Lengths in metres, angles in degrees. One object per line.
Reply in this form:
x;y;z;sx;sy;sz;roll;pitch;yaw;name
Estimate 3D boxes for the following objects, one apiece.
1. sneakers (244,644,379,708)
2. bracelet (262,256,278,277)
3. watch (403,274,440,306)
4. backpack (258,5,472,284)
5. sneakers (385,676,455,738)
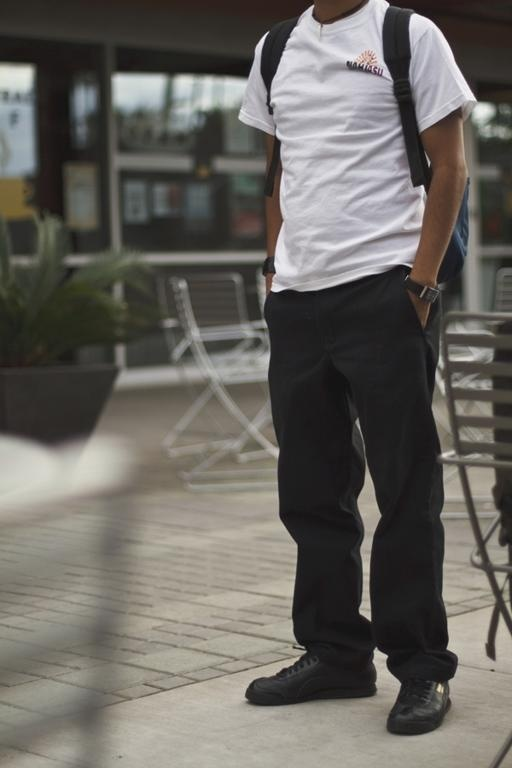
0.138;0.682;1.875;0.318;0.114;0.106;2;0;-9;sneakers
0.033;-0.280;1.879;0.041;0.047;0.028;6;-2;-36;bracelet
0.323;-0.183;1.599;0.077;0.042;0.072;24;9;-13;watch
0.209;-0.521;1.738;0.485;0.633;0.229;-1;-2;38;backpack
0.339;0.665;1.664;0.097;0.085;0.161;-1;-1;26;sneakers
